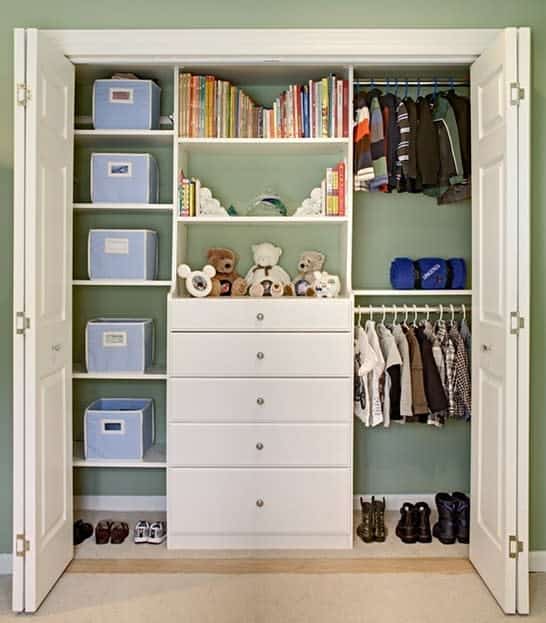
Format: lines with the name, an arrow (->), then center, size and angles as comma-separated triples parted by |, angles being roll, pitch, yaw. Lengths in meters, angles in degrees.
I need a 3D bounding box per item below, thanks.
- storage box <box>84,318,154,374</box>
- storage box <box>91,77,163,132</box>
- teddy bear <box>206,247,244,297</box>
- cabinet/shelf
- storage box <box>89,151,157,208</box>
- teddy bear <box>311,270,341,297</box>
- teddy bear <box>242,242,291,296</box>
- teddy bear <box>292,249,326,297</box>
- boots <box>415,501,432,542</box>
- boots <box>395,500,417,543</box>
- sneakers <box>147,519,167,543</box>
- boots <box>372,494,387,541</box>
storage box -> -0.732, 0.159, 2.996 | 0.215, 0.221, 0.252 | 0, 1, 0
storage box -> -0.697, -0.965, 2.885 | 0.218, 0.235, 0.249 | 0, 4, -3
teddy bear -> -0.245, -0.178, 3.066 | 0.152, 0.282, 0.146 | -1, -8, -20
cabinet/shelf -> -0.014, 0.004, 2.721 | 1.651, 2.605, 1.127 | 0, -1, -3
storage box -> -0.708, -0.617, 2.885 | 0.211, 0.224, 0.242 | 0, 9, 0
teddy bear -> 0.243, -0.123, 2.825 | 0.081, 0.117, 0.128 | 0, -3, 10
teddy bear -> -0.029, -0.120, 3.027 | 0.286, 0.405, 0.205 | 0, -1, 1
teddy bear -> 0.163, -0.177, 3.089 | 0.181, 0.311, 0.170 | 1, 0, 40
boots -> 0.689, 0.994, 2.924 | 0.052, 0.129, 0.160 | -1, 5, 1
boots -> 0.614, 0.989, 2.875 | 0.057, 0.137, 0.166 | 0, -2, 1
sneakers -> -0.543, 1.022, 2.852 | 0.035, 0.062, 0.127 | 1, -1, -2
boots -> 0.500, 0.981, 2.969 | 0.061, 0.147, 0.174 | -1, 5, 1
